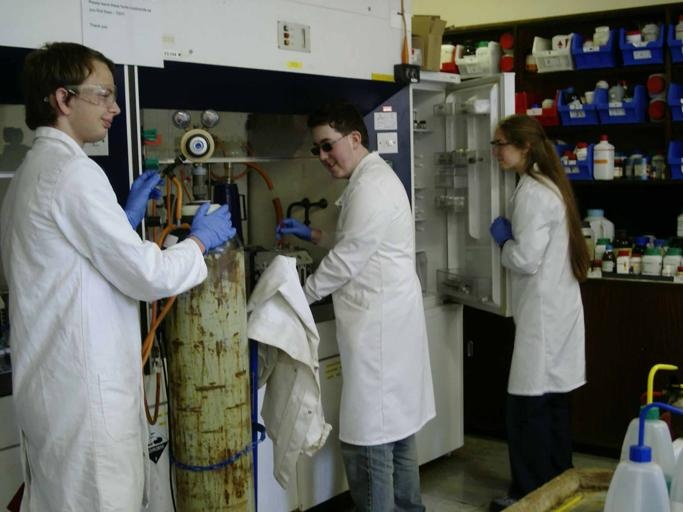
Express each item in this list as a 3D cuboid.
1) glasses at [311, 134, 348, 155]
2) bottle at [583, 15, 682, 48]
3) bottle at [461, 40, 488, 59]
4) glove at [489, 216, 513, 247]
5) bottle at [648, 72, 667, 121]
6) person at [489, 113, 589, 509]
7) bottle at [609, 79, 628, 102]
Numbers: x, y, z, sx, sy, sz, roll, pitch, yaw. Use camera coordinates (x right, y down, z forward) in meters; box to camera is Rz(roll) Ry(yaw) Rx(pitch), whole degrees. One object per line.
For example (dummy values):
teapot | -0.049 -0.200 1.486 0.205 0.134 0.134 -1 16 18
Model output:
glasses | -0.034 -0.479 2.859 0.097 0.031 0.095 -37 16 -36
bottle | 1.692 -1.237 3.758 0.492 0.241 0.266 3 9 27
bottle | 0.855 -1.320 4.107 0.080 0.126 0.291 8 28 29
glove | 0.782 -0.118 3.168 0.076 0.164 0.039 -3 -5 21
bottle | 1.802 -0.912 3.742 0.090 0.270 0.192 -1 7 -1
person | 0.966 0.280 3.153 0.471 1.905 0.346 0 7 10
bottle | 1.643 -0.974 3.849 0.106 0.140 0.278 2 9 23
